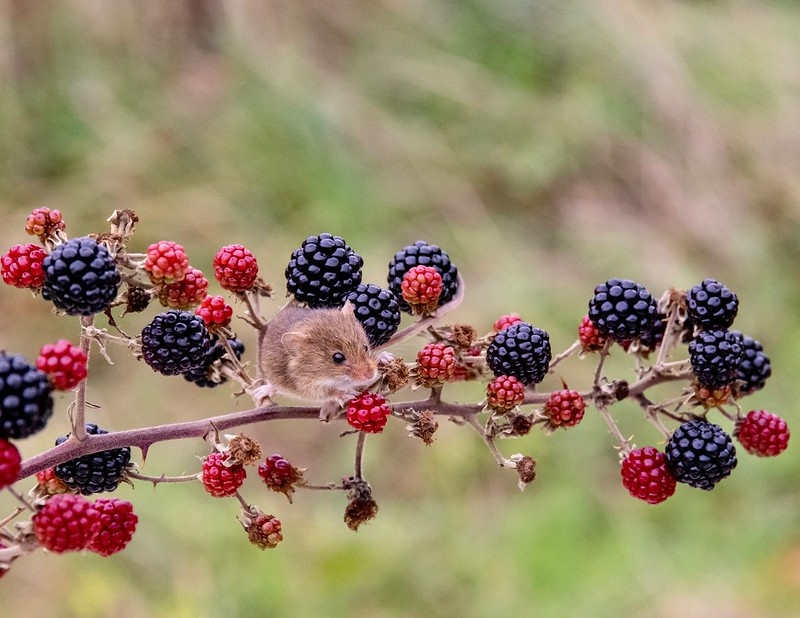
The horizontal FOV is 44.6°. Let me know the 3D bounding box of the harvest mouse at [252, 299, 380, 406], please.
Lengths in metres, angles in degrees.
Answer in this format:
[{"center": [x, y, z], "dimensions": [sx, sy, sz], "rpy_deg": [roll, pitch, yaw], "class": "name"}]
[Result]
[{"center": [-0.242, 0.139, 2.800], "dimensions": [0.221, 0.344, 0.275], "rpy_deg": [-1, 6, 36], "class": "harvest mouse"}]
